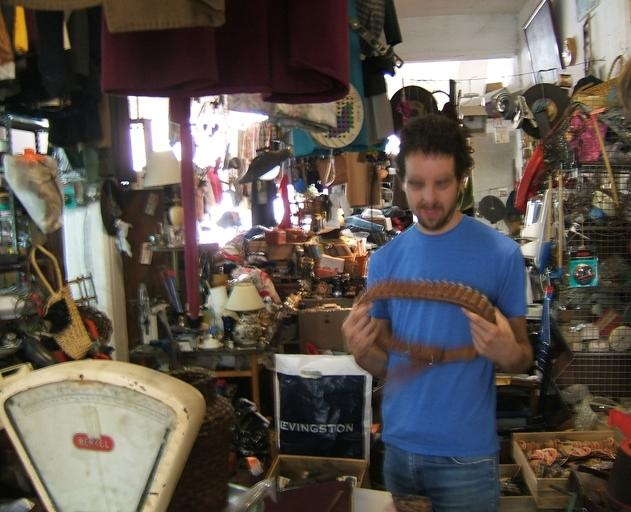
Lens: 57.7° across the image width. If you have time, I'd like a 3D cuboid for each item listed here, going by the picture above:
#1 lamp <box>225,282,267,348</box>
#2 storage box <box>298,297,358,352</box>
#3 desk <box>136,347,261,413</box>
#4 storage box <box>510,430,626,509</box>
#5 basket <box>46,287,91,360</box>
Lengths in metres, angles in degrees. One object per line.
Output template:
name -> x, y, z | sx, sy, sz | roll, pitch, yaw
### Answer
lamp -> -0.445, 0.356, 3.580 | 0.235, 0.404, 0.292 | -4, 6, -10
storage box -> 0.046, 0.455, 3.770 | 0.296, 0.394, 0.547 | -1, -1, 3
desk -> -0.674, 0.702, 3.648 | 0.545, 0.325, 0.320 | 19, -9, -17
storage box -> 1.243, 1.071, 2.905 | 0.334, 0.089, 0.364 | -6, -2, 0
basket -> -1.170, 0.308, 2.676 | 0.200, 0.324, 0.095 | -23, 9, -31
